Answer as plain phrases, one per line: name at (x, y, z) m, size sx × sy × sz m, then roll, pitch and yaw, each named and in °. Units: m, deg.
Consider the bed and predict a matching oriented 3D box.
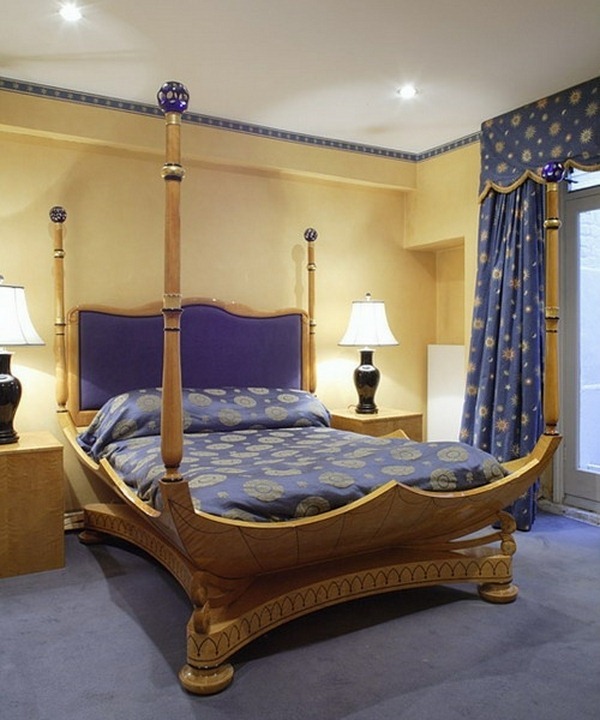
bed at (-0.215, 0.308, 2.772) m, size 1.660 × 1.238 × 1.973 m, roll -1°, pitch 4°, yaw -38°
